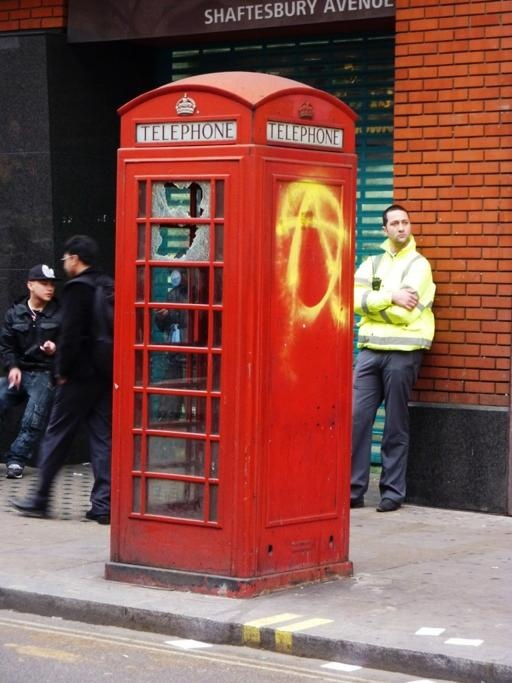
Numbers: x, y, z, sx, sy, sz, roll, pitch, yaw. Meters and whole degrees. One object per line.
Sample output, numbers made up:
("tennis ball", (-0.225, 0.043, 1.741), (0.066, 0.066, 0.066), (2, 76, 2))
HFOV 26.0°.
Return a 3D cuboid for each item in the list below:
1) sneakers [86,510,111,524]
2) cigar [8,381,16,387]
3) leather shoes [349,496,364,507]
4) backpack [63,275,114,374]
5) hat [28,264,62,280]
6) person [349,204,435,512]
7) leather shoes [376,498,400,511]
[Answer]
("sneakers", (-1.040, 1.148, 7.289), (0.072, 0.085, 0.207), (-1, 6, -33))
("cigar", (-1.962, 0.342, 8.918), (0.055, 0.054, 0.032), (-37, -39, 23))
("leather shoes", (0.728, 1.155, 7.983), (0.064, 0.129, 0.187), (-3, -4, 18))
("backpack", (-1.032, -0.103, 6.729), (0.322, 0.600, 0.329), (1, 0, -8))
("hat", (-1.742, -0.563, 8.911), (0.200, 0.106, 0.136), (1, 2, 34))
("person", (0.900, 0.228, 7.844), (0.586, 2.070, 0.383), (1, 0, 43))
("leather shoes", (0.934, 1.159, 7.858), (0.069, 0.074, 0.193), (0, -4, 41))
